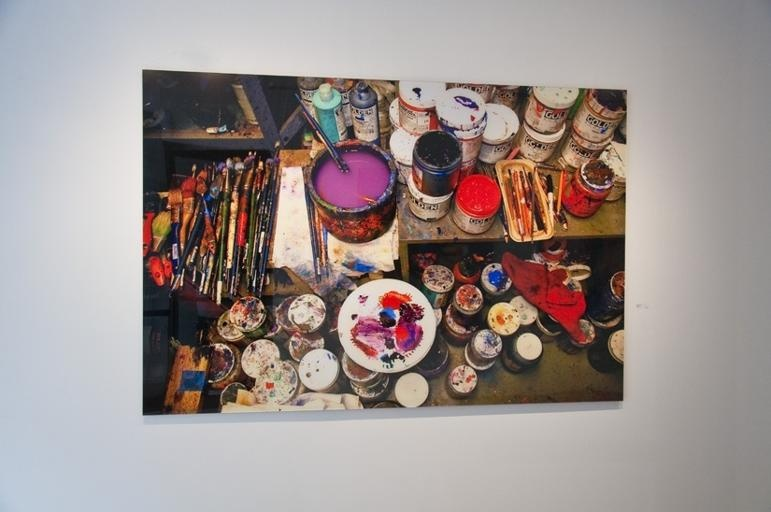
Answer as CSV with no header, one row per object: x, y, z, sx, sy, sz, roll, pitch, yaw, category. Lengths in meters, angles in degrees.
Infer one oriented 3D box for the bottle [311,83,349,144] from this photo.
-0.226,-0.560,2.669,0.104,0.109,0.190,-28,-37,-5,bottle

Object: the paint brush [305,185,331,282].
-0.270,-0.089,2.668,0.079,0.377,0.017,-2,2,-4,paint brush

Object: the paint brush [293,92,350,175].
-0.259,-0.485,2.670,0.044,0.348,0.046,-34,4,-24,paint brush
